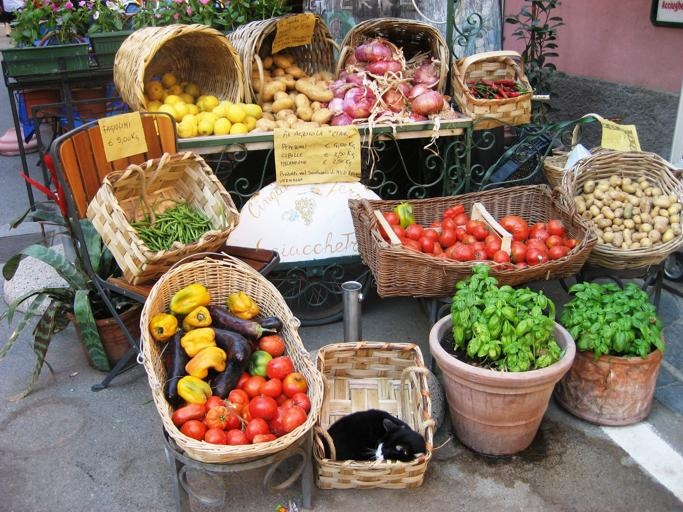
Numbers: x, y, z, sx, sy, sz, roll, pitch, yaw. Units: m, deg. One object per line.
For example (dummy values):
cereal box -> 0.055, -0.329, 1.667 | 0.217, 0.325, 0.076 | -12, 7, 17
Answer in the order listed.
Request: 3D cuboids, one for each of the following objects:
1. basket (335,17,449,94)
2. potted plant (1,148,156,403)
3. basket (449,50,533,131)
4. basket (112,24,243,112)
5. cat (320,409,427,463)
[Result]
basket -> 0.393, -1.458, 4.234 | 0.894, 0.654, 0.470 | -8, 27, -16
potted plant -> -1.767, 0.248, 3.673 | 0.831, 1.671, 0.837 | 24, 32, 36
basket -> 1.093, -1.207, 3.976 | 0.545, 0.494, 0.439 | -9, 28, -9
basket -> -1.221, -1.229, 3.915 | 1.064, 0.743, 0.664 | -11, 28, -33
cat -> 0.182, 0.927, 2.810 | 0.494, 0.184, 0.204 | -4, 28, 0
